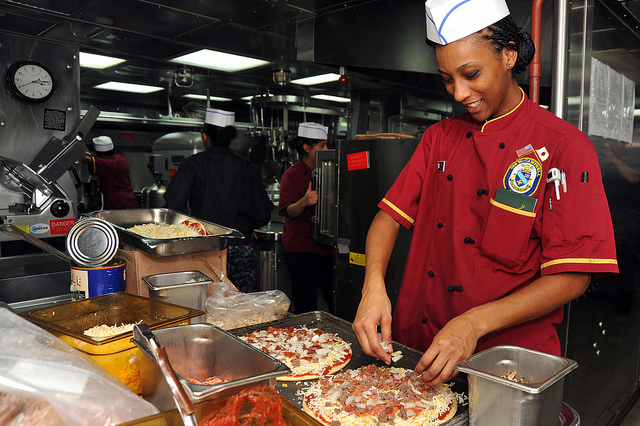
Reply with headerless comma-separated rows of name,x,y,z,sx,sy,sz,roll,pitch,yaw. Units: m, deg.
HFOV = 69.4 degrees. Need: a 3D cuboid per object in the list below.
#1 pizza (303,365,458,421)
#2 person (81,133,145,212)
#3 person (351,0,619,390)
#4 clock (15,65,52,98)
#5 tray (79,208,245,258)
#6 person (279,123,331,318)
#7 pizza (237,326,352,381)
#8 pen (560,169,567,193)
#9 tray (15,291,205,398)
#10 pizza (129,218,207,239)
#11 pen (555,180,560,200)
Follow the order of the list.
pizza,0.234,0.690,1.758,0.565,0.081,0.313,2,8,10
person,-2.924,-0.582,6.578,0.616,1.088,1.683,-3,9,-22
person,0.615,-0.100,1.901,0.962,1.555,0.763,0,9,-3
clock,-2.310,-1.049,3.764,0.216,0.235,0.227,-9,-9,41
tray,-0.866,0.099,2.535,0.803,0.133,0.543,14,13,42
person,-0.134,0.110,4.455,0.500,1.930,0.751,0,9,0
pizza,-0.079,0.610,2.084,0.465,0.054,0.499,-4,9,-27
pen,0.942,-0.125,1.785,0.015,0.073,0.006,-12,-12,28
tray,-0.762,0.491,1.738,0.574,0.286,0.382,5,9,29
pizza,-0.871,0.077,2.651,0.348,0.063,0.549,-6,10,-39
pen,0.919,-0.089,1.790,0.016,0.072,0.016,1,9,6
